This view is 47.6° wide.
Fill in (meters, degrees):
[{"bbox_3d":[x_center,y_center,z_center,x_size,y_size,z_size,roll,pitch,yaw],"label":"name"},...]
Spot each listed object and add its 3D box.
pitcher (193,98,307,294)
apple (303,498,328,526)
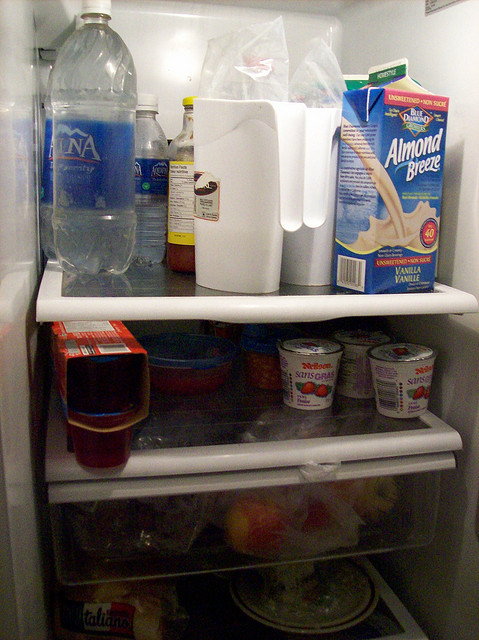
[{"bbox_3d":[0.010,-0.170,0.756,0.157,0.264,0.064,1,11,4],"label":"pitcher"},{"bbox_3d":[0.120,0.301,0.846,0.038,0.035,0.047,-1,9,-6],"label":"apple"}]
